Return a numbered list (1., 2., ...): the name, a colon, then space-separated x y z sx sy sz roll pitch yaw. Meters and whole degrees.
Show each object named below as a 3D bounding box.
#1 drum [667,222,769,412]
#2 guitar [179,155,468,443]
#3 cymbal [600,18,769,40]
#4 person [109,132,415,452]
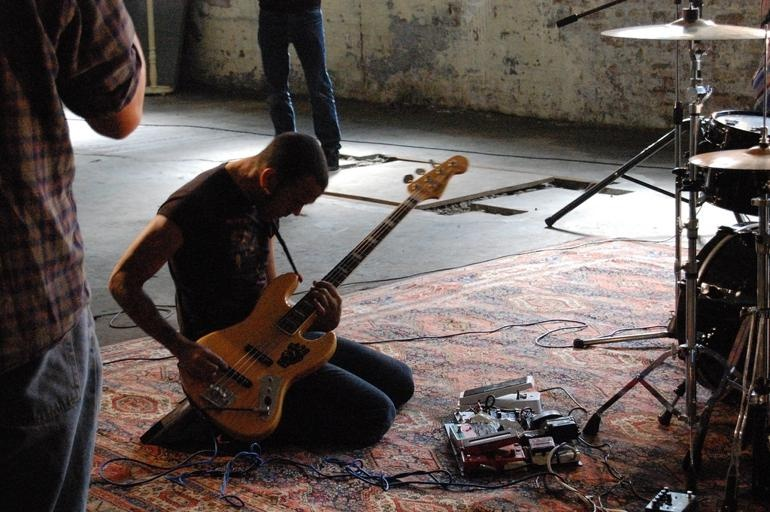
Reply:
1. drum: 1.335 0.233 2.684 0.312 0.719 0.408 13 21 21
2. guitar: -0.180 0.171 2.682 0.447 0.161 1.375 44 57 11
3. cymbal: 1.179 -0.863 2.640 0.500 0.075 0.423 1 13 5
4. person: -0.428 0.096 2.658 1.221 1.008 0.761 0 15 -16
